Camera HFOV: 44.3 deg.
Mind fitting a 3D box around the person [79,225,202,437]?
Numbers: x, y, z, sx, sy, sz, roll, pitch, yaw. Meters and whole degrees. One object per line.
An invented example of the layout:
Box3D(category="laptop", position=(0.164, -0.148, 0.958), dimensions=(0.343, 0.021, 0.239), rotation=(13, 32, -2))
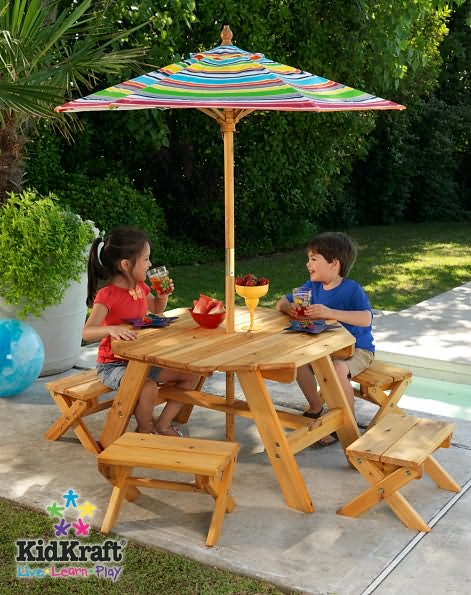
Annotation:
Box3D(category="person", position=(-0.506, 0.179, 2.914), dimensions=(0.581, 1.017, 0.436), rotation=(2, 4, 29))

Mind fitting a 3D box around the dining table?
Box3D(category="dining table", position=(0.035, 0.400, 2.881), dimensions=(1.366, 0.697, 1.236), rotation=(6, 10, 34))

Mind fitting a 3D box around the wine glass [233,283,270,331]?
Box3D(category="wine glass", position=(0.069, 0.040, 2.759), dimensions=(0.167, 0.223, 0.149), rotation=(3, 13, 23))

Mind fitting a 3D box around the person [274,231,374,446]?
Box3D(category="person", position=(0.571, 0.201, 2.994), dimensions=(0.592, 1.028, 0.502), rotation=(-3, 5, -36))

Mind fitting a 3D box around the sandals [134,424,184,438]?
Box3D(category="sandals", position=(-0.346, 0.661, 2.825), dimensions=(0.285, 0.062, 0.105), rotation=(-1, -1, 23))

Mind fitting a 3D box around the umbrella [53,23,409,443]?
Box3D(category="umbrella", position=(0.035, -0.197, 2.895), dimensions=(1.361, 2.087, 1.236), rotation=(1, 15, -1))

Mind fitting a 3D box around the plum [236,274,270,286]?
Box3D(category="plum", position=(0.078, -0.072, 2.715), dimensions=(0.129, 0.046, 0.121), rotation=(1, -2, 0))
